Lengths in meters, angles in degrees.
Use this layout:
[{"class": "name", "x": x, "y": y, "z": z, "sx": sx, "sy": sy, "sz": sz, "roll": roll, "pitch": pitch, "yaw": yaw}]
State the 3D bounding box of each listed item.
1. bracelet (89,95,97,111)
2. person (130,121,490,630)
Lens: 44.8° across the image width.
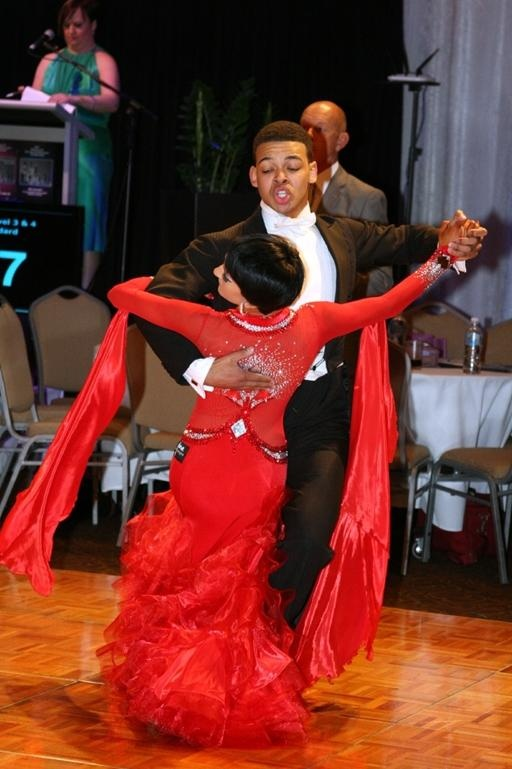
[{"class": "bracelet", "x": -1.599, "y": -2.746, "z": 6.040, "sx": 0.057, "sy": 0.175, "sz": 0.192, "roll": 6, "pitch": -9, "yaw": -17}, {"class": "person", "x": 0.109, "y": 0.087, "z": 1.556, "sx": 1.000, "sy": 1.382, "sz": 0.409, "roll": -12, "pitch": 25, "yaw": -21}]
